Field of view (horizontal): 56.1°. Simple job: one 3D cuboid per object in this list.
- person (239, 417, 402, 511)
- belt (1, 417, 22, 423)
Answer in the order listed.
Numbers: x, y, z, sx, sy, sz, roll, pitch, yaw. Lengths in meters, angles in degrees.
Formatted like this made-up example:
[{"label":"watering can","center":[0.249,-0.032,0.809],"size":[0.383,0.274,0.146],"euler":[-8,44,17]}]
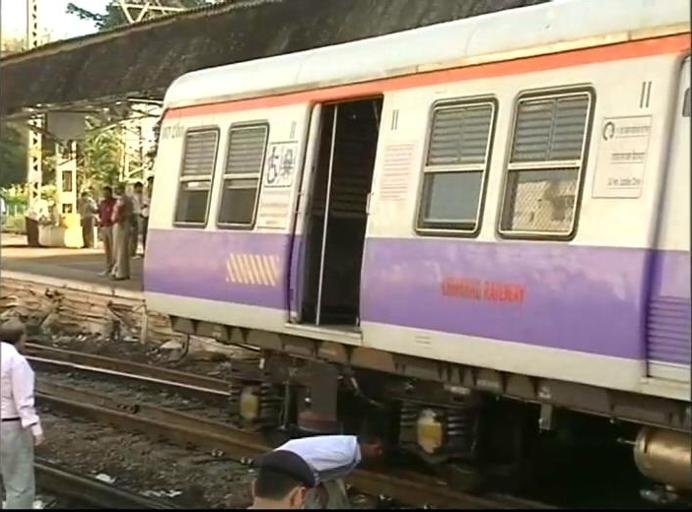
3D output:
[{"label":"person","center":[-0.287,1.730,4.840],"size":[0.867,0.469,0.661],"euler":[-14,12,-41]},{"label":"belt","center":[-3.168,1.552,6.153],"size":[0.156,0.041,0.028],"euler":[3,2,-25]}]
